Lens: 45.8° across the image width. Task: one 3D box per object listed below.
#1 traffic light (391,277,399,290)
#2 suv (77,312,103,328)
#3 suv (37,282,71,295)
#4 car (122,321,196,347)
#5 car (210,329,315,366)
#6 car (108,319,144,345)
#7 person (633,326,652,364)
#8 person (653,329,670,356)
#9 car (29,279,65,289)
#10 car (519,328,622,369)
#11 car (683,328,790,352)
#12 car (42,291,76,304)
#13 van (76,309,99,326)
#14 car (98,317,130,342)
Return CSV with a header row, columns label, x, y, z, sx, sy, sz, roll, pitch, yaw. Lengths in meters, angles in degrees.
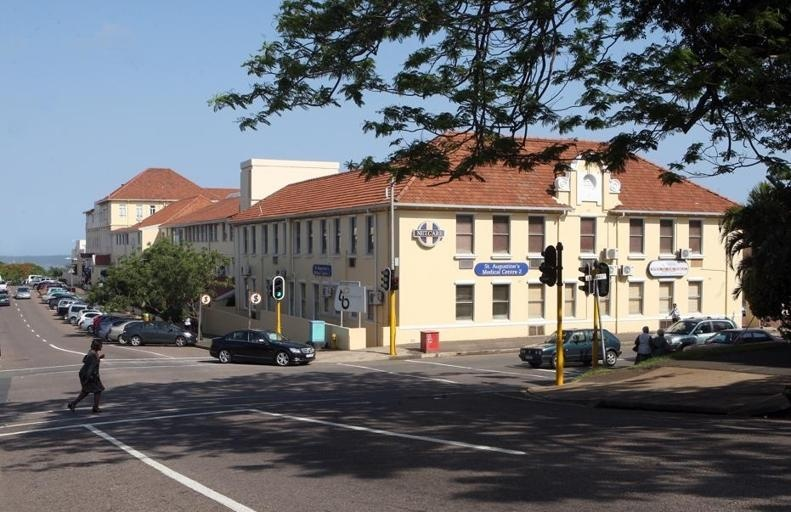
label,x,y,z,sx,sy,sz,roll,pitch,yaw
traffic light,0.020,1.335,44.147,0.512,0.595,0.434,0,0,-25
suv,-22.394,4.642,68.016,1.471,1.114,2.440,-1,3,-11
suv,-44.255,4.245,121.196,3.309,1.066,1.483,-2,2,0
car,-14.033,4.614,54.851,3.723,1.167,1.777,-1,-3,-5
car,-5.928,4.100,41.543,4.129,1.161,1.756,-3,-6,25
car,-16.720,4.598,56.797,2.871,0.929,1.265,-1,1,-21
person,9.450,3.455,35.987,0.753,1.511,0.465,5,24,11
person,9.978,3.285,35.470,0.508,0.968,1.055,-1,-6,16
car,-50.583,4.126,135.395,2.796,0.912,1.277,-3,-1,11
car,7.478,3.924,39.679,3.295,1.184,1.948,4,-6,-28
car,13.913,3.400,38.722,4.318,1.358,1.932,3,-6,-23
car,-35.410,4.381,98.441,2.633,0.840,1.279,-3,3,-14
van,-22.884,4.766,69.238,1.362,1.122,2.266,-1,4,-3
car,-17.633,4.667,58.284,1.341,0.946,2.852,-1,2,-11
